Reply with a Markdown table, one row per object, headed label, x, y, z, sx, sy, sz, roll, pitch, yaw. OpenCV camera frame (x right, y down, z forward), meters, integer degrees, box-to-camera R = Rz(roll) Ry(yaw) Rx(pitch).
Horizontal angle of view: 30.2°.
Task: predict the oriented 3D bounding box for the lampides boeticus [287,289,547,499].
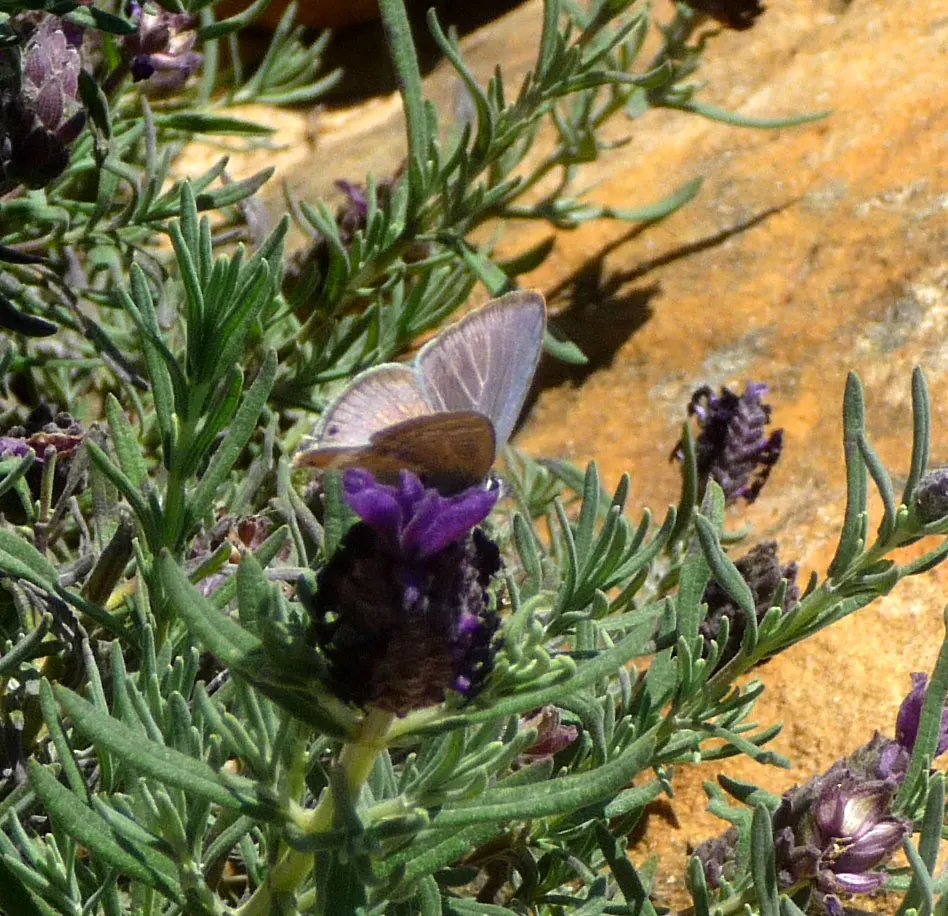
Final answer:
| label | x | y | z | sx | sy | sz | roll | pitch | yaw |
| --- | --- | --- | --- | --- | --- | --- | --- | --- | --- |
| lampides boeticus | -0.042 | -0.077 | 2.224 | 0.239 | 0.228 | 0.371 | 24 | 13 | -1 |
